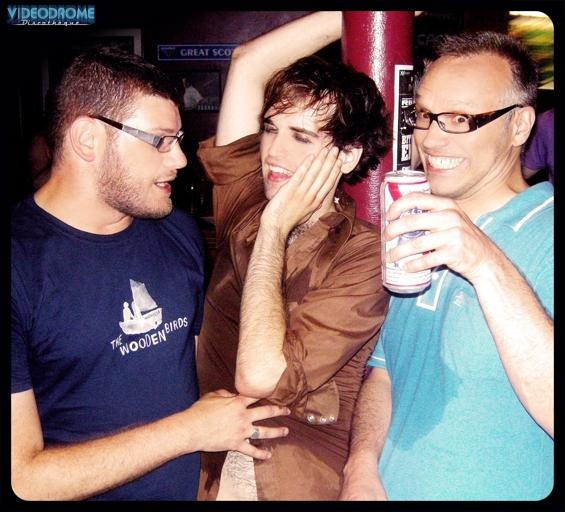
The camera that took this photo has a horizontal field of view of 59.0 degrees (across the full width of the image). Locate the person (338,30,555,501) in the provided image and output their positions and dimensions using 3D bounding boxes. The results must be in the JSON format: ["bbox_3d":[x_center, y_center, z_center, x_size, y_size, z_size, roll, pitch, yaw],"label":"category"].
[{"bbox_3d":[0.710,0.113,1.999,0.833,1.900,0.675,2,20,7],"label":"person"}]

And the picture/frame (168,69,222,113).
[{"bbox_3d":[-0.977,-1.790,5.414,0.633,0.447,0.046,-11,30,-31],"label":"picture/frame"}]

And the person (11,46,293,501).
[{"bbox_3d":[-0.642,0.048,2.114,0.958,1.751,0.761,-2,20,-5],"label":"person"}]

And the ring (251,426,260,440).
[{"bbox_3d":[-0.128,0.759,2.133,0.037,0.048,0.050,22,51,-26],"label":"ring"}]

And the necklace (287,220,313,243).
[{"bbox_3d":[0.079,-0.111,2.311,0.116,0.072,0.029,-45,23,-1],"label":"necklace"}]
